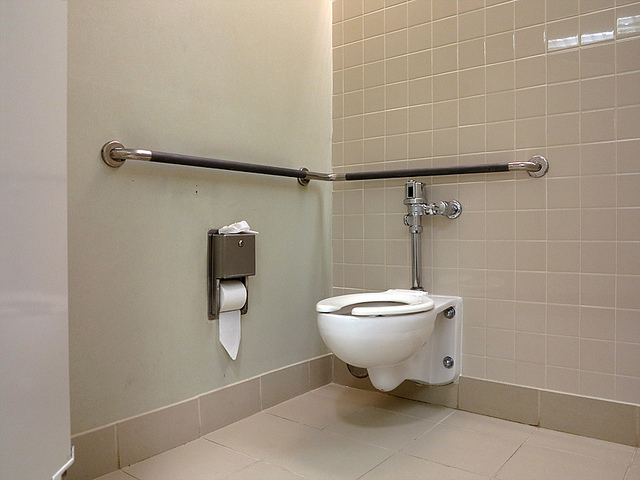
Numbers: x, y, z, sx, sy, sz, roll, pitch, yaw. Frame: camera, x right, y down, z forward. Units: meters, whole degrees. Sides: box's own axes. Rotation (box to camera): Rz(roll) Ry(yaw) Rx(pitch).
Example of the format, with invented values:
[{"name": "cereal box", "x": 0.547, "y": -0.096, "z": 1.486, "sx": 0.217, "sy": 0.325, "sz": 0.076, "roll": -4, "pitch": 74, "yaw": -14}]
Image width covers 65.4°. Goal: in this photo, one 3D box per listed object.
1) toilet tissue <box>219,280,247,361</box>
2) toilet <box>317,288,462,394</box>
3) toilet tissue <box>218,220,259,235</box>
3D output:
[{"name": "toilet tissue", "x": -0.347, "y": 0.331, "z": 2.031, "sx": 0.069, "sy": 0.339, "sz": 0.141, "roll": 2, "pitch": 5, "yaw": 37}, {"name": "toilet", "x": 0.282, "y": 0.420, "z": 2.020, "sx": 0.410, "sy": 0.413, "sz": 0.528, "roll": 1, "pitch": 2, "yaw": 44}, {"name": "toilet tissue", "x": -0.313, "y": -0.049, "z": 2.075, "sx": 0.108, "sy": 0.057, "sz": 0.236, "roll": 2, "pitch": 4, "yaw": 31}]
